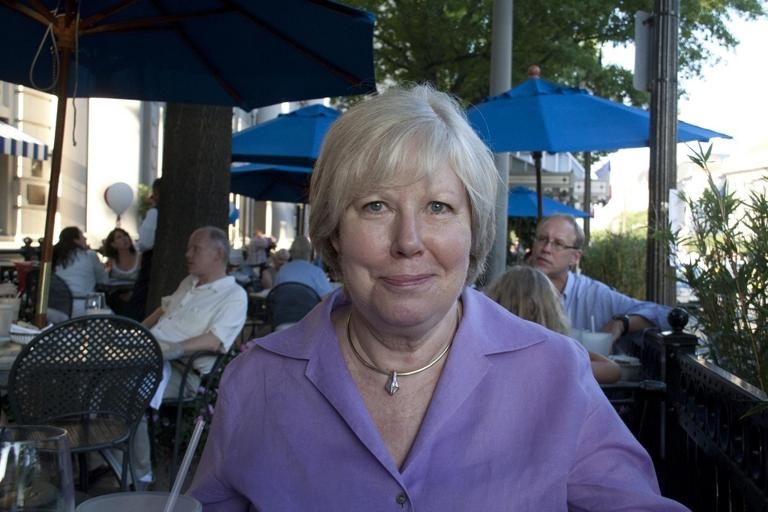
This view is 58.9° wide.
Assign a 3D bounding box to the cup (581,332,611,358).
[{"bbox_3d":[1.372,0.567,4.342,0.136,0.180,0.169,1,-2,9],"label":"cup"}]

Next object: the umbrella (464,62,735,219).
[{"bbox_3d":[1.556,-1.134,5.760,1.543,0.862,1.675,1,0,11],"label":"umbrella"}]

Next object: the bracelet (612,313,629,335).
[{"bbox_3d":[1.746,0.485,4.892,0.084,0.140,0.147,8,-34,-2],"label":"bracelet"}]
